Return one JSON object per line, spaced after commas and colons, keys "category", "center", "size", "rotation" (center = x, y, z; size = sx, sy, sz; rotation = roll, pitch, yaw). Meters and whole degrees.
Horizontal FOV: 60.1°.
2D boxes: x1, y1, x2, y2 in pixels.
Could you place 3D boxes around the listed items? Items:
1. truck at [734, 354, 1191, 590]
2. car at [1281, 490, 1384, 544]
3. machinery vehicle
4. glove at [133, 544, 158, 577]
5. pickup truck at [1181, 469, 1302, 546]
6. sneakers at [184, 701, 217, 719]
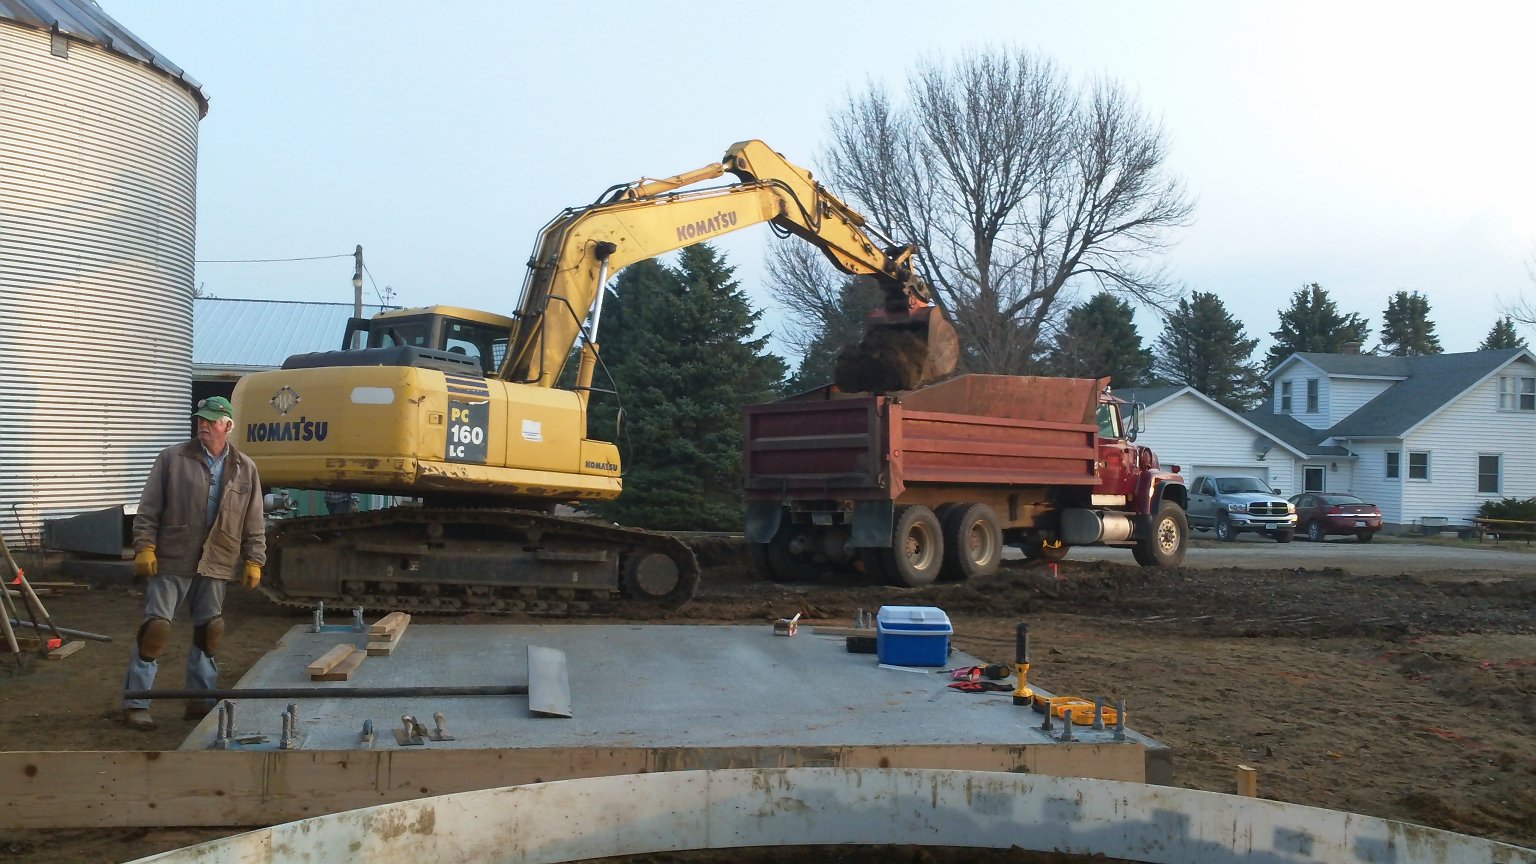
{"category": "truck", "center": [3.880, 0.766, 23.884], "size": [8.089, 2.949, 3.255], "rotation": [0, -2, -30]}
{"category": "car", "center": [15.580, 2.357, 37.207], "size": [1.312, 0.851, 2.774], "rotation": [0, 1, -3]}
{"category": "machinery vehicle", "center": [-2.228, -0.913, 21.099], "size": [11.523, 6.433, 4.897], "rotation": [1, 7, -31]}
{"category": "glove", "center": [-6.704, 1.410, 14.345], "size": [0.214, 0.348, 0.217], "rotation": [3, -3, -42]}
{"category": "pickup truck", "center": [12.765, 2.092, 36.542], "size": [1.562, 1.195, 3.067], "rotation": [0, -5, -7]}
{"category": "sneakers", "center": [-6.070, 3.015, 14.306], "size": [0.495, 0.181, 0.208], "rotation": [-3, -4, 45]}
